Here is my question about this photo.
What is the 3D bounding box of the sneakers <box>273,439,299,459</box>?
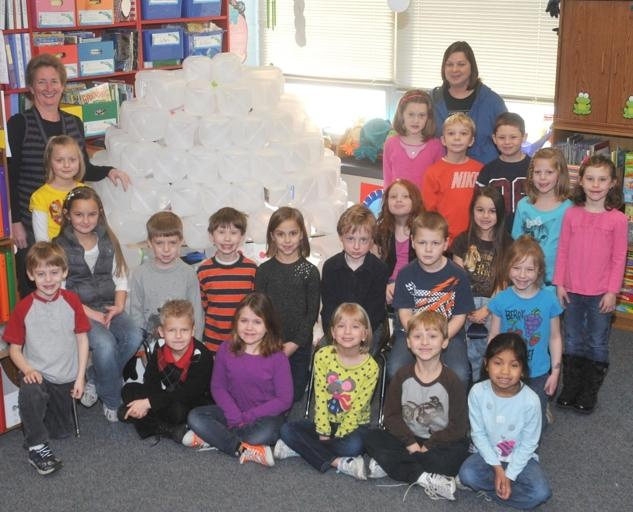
[{"bbox_3d":[-0.145,0.963,3.132,0.057,0.072,0.132,11,-12,26],"label":"sneakers"}]

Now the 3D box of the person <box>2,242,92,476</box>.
[{"bbox_3d":[-1.394,0.491,3.156,0.365,1.043,0.470,3,17,11],"label":"person"}]

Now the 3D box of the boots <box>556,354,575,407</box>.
[{"bbox_3d":[1.420,0.705,3.579,0.075,0.250,0.187,7,18,23],"label":"boots"}]

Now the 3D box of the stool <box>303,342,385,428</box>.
[{"bbox_3d":[0.144,0.653,3.176,0.362,0.432,0.270,14,13,15],"label":"stool"}]

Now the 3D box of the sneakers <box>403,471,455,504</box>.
[{"bbox_3d":[0.525,1.058,2.918,0.093,0.077,0.211,-17,10,-40],"label":"sneakers"}]

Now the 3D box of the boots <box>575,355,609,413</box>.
[{"bbox_3d":[1.548,0.719,3.559,0.126,0.250,0.282,10,19,30],"label":"boots"}]

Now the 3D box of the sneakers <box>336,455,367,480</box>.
[{"bbox_3d":[0.173,1.010,3.014,0.134,0.080,0.062,5,5,30],"label":"sneakers"}]

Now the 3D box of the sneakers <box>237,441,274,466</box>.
[{"bbox_3d":[-0.307,0.957,3.145,0.215,0.076,0.097,7,10,43],"label":"sneakers"}]

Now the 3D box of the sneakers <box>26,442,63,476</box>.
[{"bbox_3d":[-1.322,1.001,3.089,0.211,0.107,0.091,15,22,36],"label":"sneakers"}]

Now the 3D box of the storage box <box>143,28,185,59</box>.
[{"bbox_3d":[-1.485,-2.004,5.985,0.282,0.342,0.493,12,22,36],"label":"storage box"}]

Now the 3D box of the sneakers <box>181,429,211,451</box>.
[{"bbox_3d":[-0.617,0.948,3.228,0.142,0.088,0.057,19,22,-8],"label":"sneakers"}]
